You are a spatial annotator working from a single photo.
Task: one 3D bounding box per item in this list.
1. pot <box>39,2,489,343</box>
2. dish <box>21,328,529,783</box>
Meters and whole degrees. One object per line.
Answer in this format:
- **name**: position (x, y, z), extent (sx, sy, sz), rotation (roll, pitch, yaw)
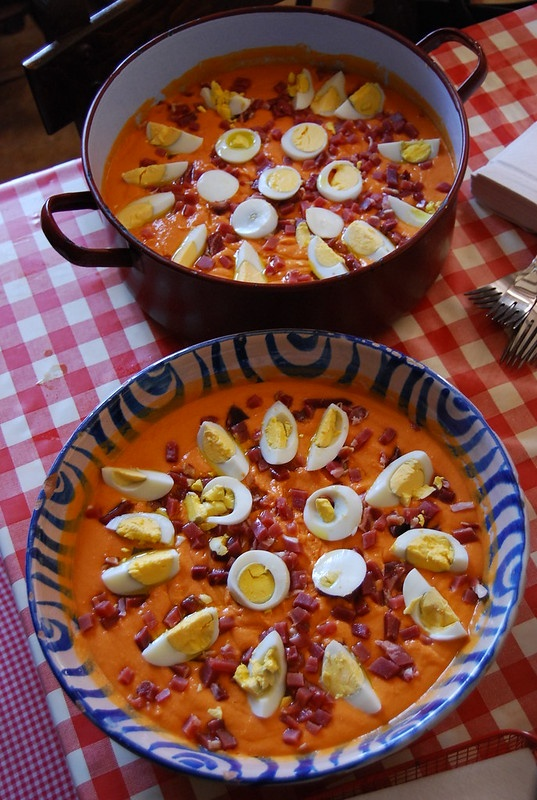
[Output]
- **pot**: position (-0.003, -0.597, 1.667), extent (0.939, 0.430, 1.019), rotation (-1, 51, 1)
- **dish**: position (0.009, 0.251, 1.245), extent (0.869, 0.280, 0.800), rotation (5, 51, 6)
